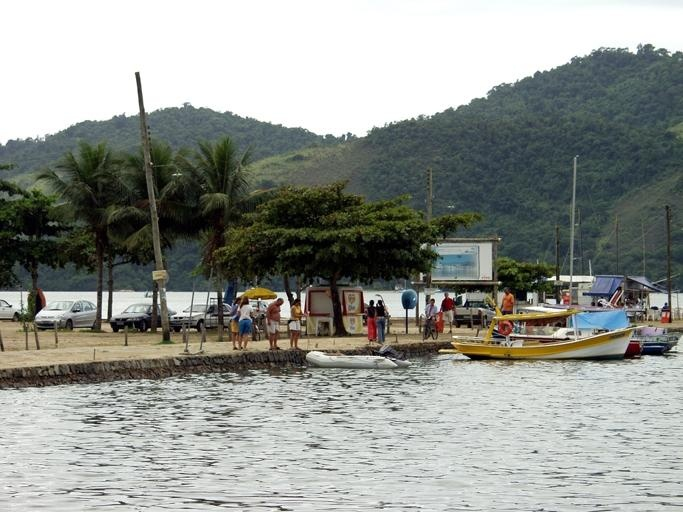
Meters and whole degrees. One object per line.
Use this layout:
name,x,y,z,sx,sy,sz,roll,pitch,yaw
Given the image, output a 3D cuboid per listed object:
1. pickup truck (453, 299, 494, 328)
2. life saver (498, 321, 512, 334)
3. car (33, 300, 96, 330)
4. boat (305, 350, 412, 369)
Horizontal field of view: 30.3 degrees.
pickup truck,8.792,3.827,82.555,2.867,1.397,1.678,-3,3,-24
life saver,8.198,3.592,63.024,0.695,0.735,0.634,-1,-3,5
car,-16.130,3.529,75.275,2.511,1.760,5.047,-1,-3,-1
boat,0.654,4.819,58.357,4.285,0.831,0.868,0,-3,-10
